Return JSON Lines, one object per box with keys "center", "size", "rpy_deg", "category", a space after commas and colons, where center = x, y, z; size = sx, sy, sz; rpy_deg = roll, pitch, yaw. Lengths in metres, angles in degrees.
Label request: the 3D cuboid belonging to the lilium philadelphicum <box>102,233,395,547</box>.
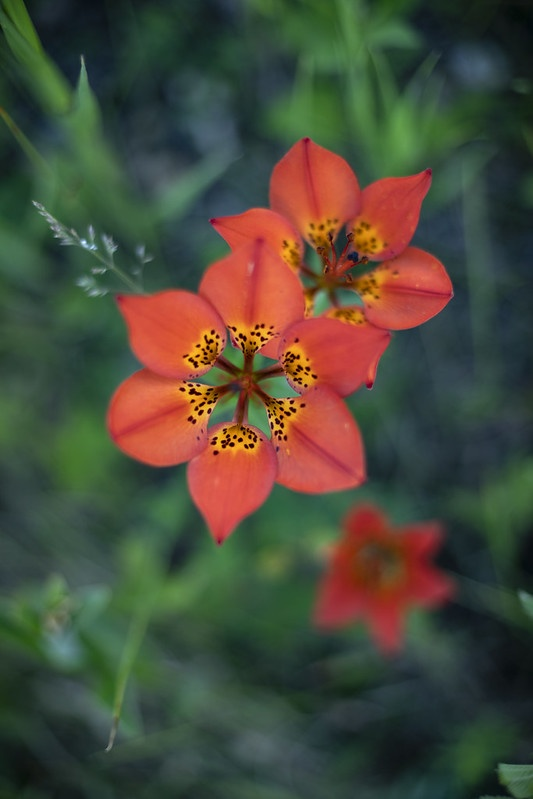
{"center": [-0.021, -0.012, 0.547], "size": [0.254, 0.062, 0.209], "rpy_deg": [-6, 90, -33], "category": "lilium philadelphicum"}
